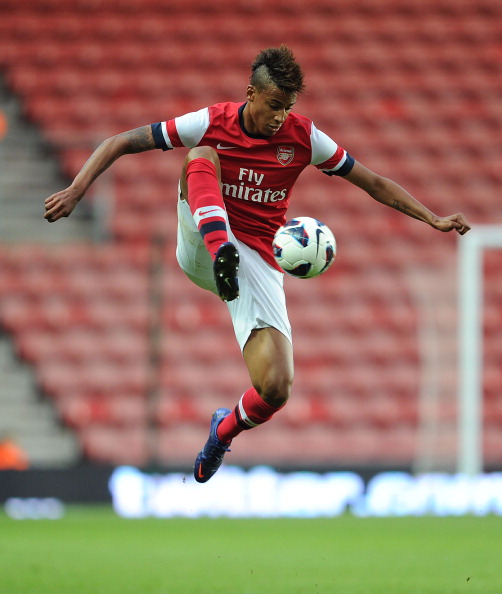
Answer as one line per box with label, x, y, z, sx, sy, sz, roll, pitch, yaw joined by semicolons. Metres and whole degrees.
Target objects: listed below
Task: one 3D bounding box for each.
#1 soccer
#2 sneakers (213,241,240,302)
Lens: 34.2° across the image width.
soccer;0.240;-0.233;3.756;0.229;0.289;0.180;3;-3;-35
sneakers;-0.116;-0.110;3.330;0.109;0.219;0.106;1;-7;-8
